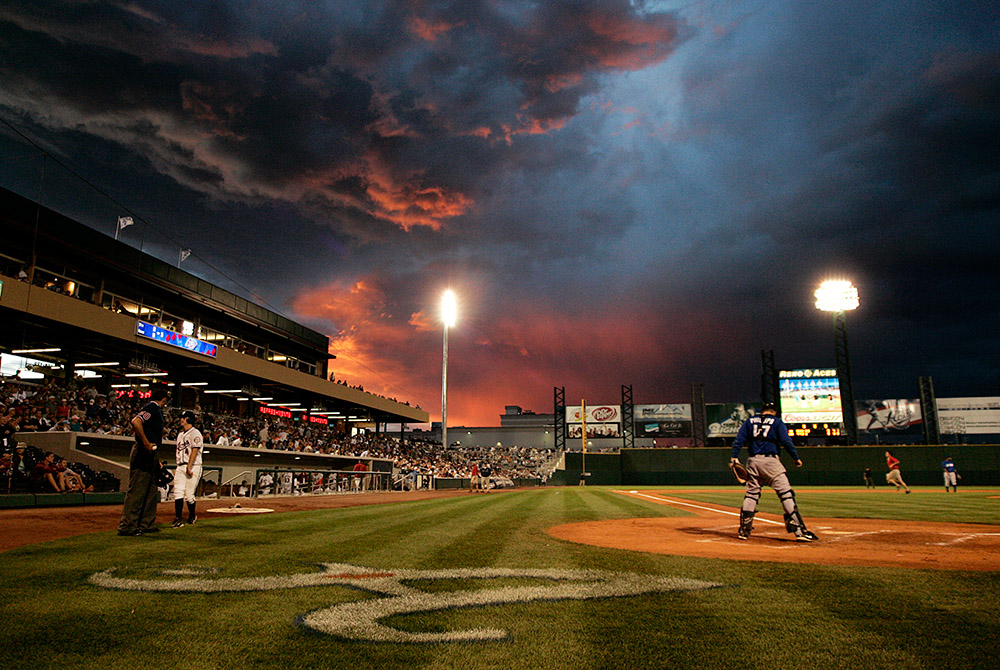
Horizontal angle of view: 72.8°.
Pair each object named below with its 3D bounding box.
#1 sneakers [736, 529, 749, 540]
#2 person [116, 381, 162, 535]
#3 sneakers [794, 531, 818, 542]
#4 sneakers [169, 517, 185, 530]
[{"bbox_3d":[4.450,3.660,12.420,0.199,0.180,0.291,0,-5,13],"label":"sneakers"},{"bbox_3d":[-6.361,2.246,12.116,0.610,2.583,0.670,3,-5,-27],"label":"person"},{"bbox_3d":[5.487,3.621,12.138,0.427,0.174,0.165,6,-9,-38],"label":"sneakers"},{"bbox_3d":[-6.224,3.659,13.128,0.171,0.182,0.437,0,-4,-31],"label":"sneakers"}]
